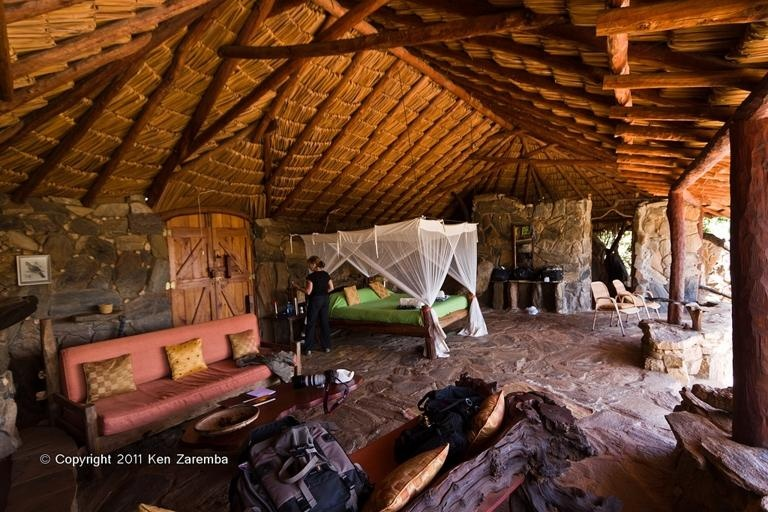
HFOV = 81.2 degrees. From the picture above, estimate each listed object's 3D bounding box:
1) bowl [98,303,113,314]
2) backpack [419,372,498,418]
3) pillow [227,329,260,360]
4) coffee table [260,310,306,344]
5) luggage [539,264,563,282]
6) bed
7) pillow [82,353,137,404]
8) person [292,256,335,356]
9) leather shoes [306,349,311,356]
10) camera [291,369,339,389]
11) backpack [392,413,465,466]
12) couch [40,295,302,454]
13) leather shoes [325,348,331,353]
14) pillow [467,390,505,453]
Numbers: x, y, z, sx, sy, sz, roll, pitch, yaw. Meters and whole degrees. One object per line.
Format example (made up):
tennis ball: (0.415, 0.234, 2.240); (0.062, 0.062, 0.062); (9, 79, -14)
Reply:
bowl: (-3.826, 0.726, 6.186); (0.175, 0.096, 0.165); (3, 3, 0)
backpack: (0.740, 1.363, 4.395); (0.742, 0.190, 0.538); (-16, 6, -29)
pillow: (-2.023, 1.282, 6.479); (0.468, 0.355, 0.156); (-10, -20, -41)
coffee table: (-2.011, 1.386, 8.765); (0.540, 0.460, 0.972); (3, 5, 33)
luggage: (3.905, 0.406, 10.648); (0.518, 0.341, 0.442); (-2, 3, -23)
bed: (-0.009, 1.199, 8.256); (1.795, 0.521, 1.579); (0, 2, 23)
pillow: (-3.166, 1.452, 5.273); (0.621, 0.413, 0.172); (-8, -8, -38)
person: (-1.216, 0.870, 8.062); (0.523, 1.802, 0.741); (-2, 17, 18)
leather shoes: (-1.343, 1.732, 8.014); (0.067, 0.042, 0.123); (1, 1, 11)
camera: (-0.781, 1.466, 5.356); (0.613, 0.156, 0.191); (-3, 3, -11)
backpack: (0.361, 1.623, 3.985); (0.594, 0.155, 0.514); (-20, 13, 14)
couch: (-2.760, 1.495, 5.892); (1.091, 1.045, 2.556); (17, 10, 27)
leather shoes: (-1.018, 1.704, 8.099); (0.100, 0.031, 0.132); (0, 5, -2)
pillow: (0.937, 1.489, 4.026); (0.140, 0.417, 0.419); (35, -16, 29)
